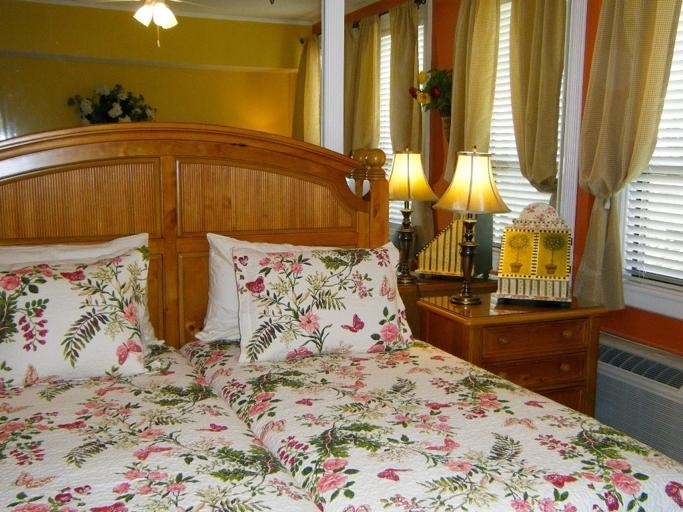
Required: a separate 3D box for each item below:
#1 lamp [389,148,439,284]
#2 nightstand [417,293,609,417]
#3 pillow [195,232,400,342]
[{"bbox_3d":[0.390,-0.242,3.227,0.401,0.802,0.382,-2,5,-5],"label":"lamp"},{"bbox_3d":[0.899,0.397,2.910,0.853,0.780,0.611,-4,11,-21],"label":"nightstand"},{"bbox_3d":[-0.148,0.194,2.601,1.043,0.562,0.278,2,6,-27],"label":"pillow"}]
